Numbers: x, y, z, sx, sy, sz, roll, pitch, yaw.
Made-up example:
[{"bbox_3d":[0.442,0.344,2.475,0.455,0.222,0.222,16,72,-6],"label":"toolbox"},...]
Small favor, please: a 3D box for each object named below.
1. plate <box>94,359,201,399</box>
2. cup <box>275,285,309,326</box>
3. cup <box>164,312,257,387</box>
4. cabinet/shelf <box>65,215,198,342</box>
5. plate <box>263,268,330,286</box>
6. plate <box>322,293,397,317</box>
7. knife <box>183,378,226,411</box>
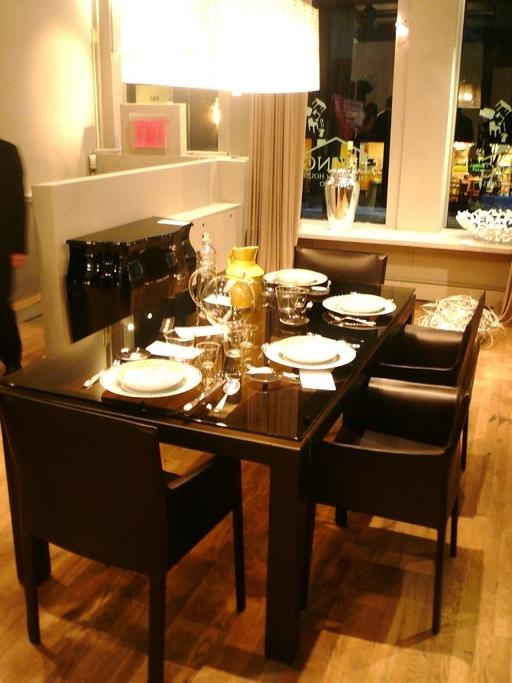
[{"bbox_3d":[-0.260,0.093,1.320,0.130,0.018,0.142,6,22,4],"label":"plate"},{"bbox_3d":[0.132,-0.139,2.005,0.123,0.130,0.151,-1,14,-5],"label":"cup"},{"bbox_3d":[-0.125,0.006,1.631,0.189,0.176,0.223,2,6,38],"label":"cup"},{"bbox_3d":[-0.718,-0.349,2.888,0.250,0.620,0.654,10,24,21],"label":"cabinet/shelf"},{"bbox_3d":[0.202,-0.308,2.556,0.181,0.029,0.197,4,18,14],"label":"plate"},{"bbox_3d":[0.410,-0.141,2.126,0.152,0.025,0.164,9,25,21],"label":"plate"},{"bbox_3d":[-0.121,0.119,1.274,0.028,0.031,0.204,4,11,14],"label":"knife"}]
